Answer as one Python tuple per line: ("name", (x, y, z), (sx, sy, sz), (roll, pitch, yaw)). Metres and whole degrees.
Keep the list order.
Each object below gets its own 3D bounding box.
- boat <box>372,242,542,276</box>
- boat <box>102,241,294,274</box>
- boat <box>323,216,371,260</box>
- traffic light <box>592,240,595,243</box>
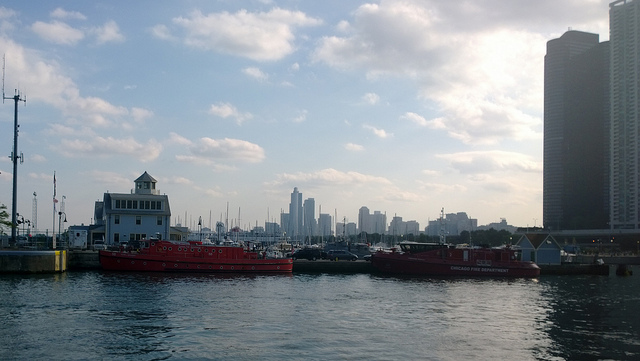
("boat", (34.065, 19.551, 176.946), (42.586, 8.872, 12.753), (2, -7, -2))
("boat", (-28.836, 18.211, 170.821), (45.447, 7.534, 7.727), (1, 2, -12))
("boat", (7.474, 15.781, 193.381), (14.064, 10.981, 4.122), (2, 1, -1))
("traffic light", (106.995, 23.762, 276.869), (0.612, 0.987, 0.686), (-4, 6, -37))
